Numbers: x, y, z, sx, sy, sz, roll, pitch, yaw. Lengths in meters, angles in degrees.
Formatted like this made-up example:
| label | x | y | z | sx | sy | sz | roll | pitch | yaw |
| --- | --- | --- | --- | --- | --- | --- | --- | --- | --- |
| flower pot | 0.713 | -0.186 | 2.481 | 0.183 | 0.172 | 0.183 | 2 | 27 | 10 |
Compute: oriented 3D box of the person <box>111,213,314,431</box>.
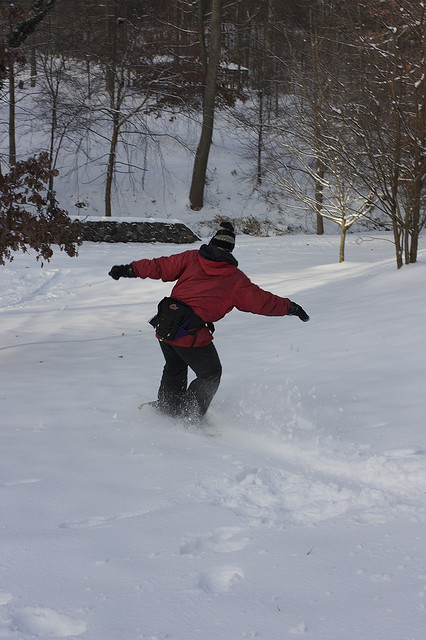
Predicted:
| label | x | y | z | sx | sy | sz | roll | pitch | yaw |
| --- | --- | --- | --- | --- | --- | --- | --- | --- | --- |
| person | -0.053 | 0.045 | 5.419 | 1.219 | 1.525 | 0.540 | 0 | 10 | -6 |

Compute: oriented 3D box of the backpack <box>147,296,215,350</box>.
| label | x | y | z | sx | sy | sz | roll | pitch | yaw |
| --- | --- | --- | --- | --- | --- | --- | --- | --- | --- |
| backpack | -0.338 | -0.001 | 5.240 | 0.471 | 0.391 | 0.320 | -10 | 28 | -43 |
